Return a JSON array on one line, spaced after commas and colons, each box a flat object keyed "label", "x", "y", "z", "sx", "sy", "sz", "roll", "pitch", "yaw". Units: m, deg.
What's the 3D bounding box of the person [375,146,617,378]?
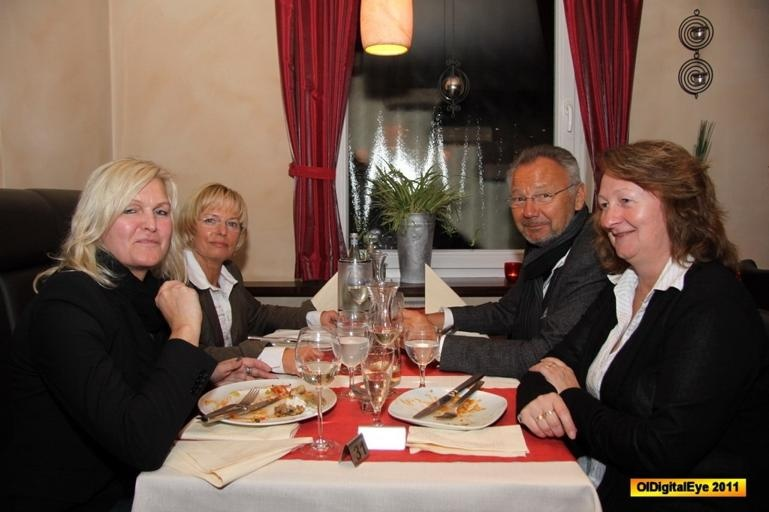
[{"label": "person", "x": 0.426, "y": 0.039, "z": 2.554, "sx": 0.892, "sy": 0.989, "sz": 0.997, "roll": 1, "pitch": 6, "yaw": 4}]

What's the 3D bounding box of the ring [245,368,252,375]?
[{"label": "ring", "x": -0.496, "y": 0.421, "z": 2.056, "sx": 0.024, "sy": 0.024, "sz": 0.007, "roll": 2, "pitch": -14, "yaw": -2}]

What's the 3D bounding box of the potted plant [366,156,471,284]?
[{"label": "potted plant", "x": 0.215, "y": -0.193, "z": 3.901, "sx": 0.682, "sy": 0.758, "sz": 0.764, "roll": 1, "pitch": -4, "yaw": -3}]

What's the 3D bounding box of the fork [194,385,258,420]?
[{"label": "fork", "x": -0.471, "y": 0.457, "z": 1.758, "sx": 0.053, "sy": 0.048, "sz": 0.321, "roll": 1, "pitch": 8, "yaw": 17}]

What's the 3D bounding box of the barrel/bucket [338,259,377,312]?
[{"label": "barrel/bucket", "x": -0.099, "y": 0.134, "z": 2.572, "sx": 0.207, "sy": 0.331, "sz": 0.209, "roll": 0, "pitch": -1, "yaw": 0}]

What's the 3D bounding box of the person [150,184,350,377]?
[{"label": "person", "x": -0.669, "y": 0.118, "z": 2.648, "sx": 0.828, "sy": 0.905, "sz": 0.632, "roll": -2, "pitch": 2, "yaw": -12}]

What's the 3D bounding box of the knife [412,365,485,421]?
[{"label": "knife", "x": 0.228, "y": 0.439, "z": 1.851, "sx": 0.076, "sy": 0.029, "sz": 0.522, "roll": 3, "pitch": 6, "yaw": 30}]

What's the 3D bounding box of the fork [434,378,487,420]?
[{"label": "fork", "x": 0.239, "y": 0.455, "z": 1.806, "sx": 0.053, "sy": 0.032, "sz": 0.362, "roll": 5, "pitch": 5, "yaw": 21}]
